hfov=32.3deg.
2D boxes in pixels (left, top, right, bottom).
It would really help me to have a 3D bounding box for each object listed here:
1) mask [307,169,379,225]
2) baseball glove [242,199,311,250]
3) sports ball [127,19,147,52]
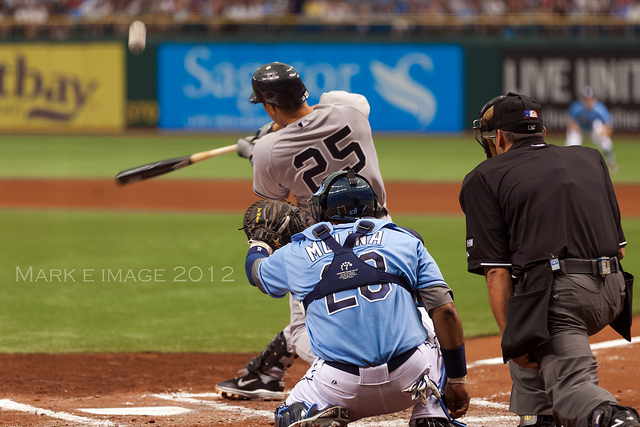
[{"bbox_3d":[0.240,-0.201,12.357,0.768,0.578,0.360,-2,0,4],"label":"mask"},{"bbox_3d":[-0.584,0.063,12.795,0.671,0.303,0.535,19,-8,45],"label":"baseball glove"},{"bbox_3d":[-2.384,-2.295,14.232,0.250,0.392,0.094,2,12,-22],"label":"sports ball"}]
